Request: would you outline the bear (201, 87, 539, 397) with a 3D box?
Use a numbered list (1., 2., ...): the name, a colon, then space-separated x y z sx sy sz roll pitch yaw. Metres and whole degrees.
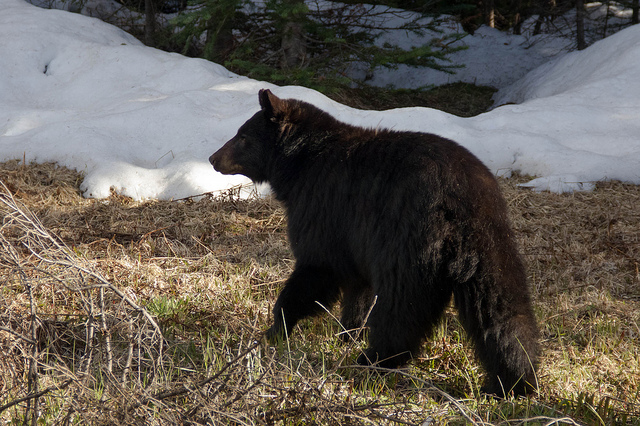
1. bear: 0.866 0.409 11.808 4.561 3.393 1.941 12 14 27
